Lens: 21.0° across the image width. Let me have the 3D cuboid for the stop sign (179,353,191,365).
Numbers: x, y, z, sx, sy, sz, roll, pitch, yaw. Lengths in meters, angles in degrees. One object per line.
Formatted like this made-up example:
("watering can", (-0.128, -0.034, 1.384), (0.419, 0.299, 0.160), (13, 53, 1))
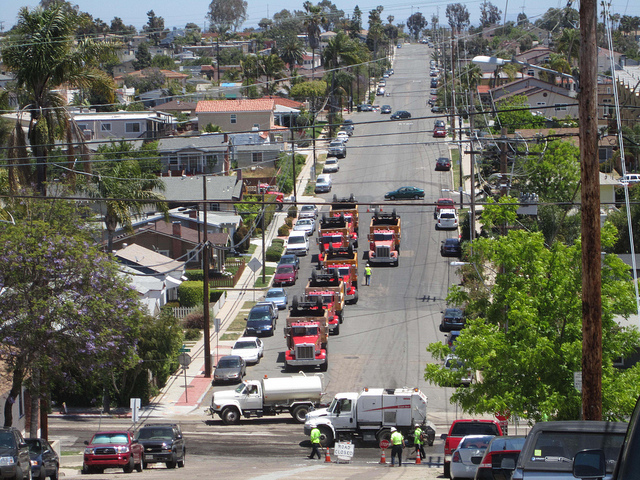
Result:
("stop sign", (-9.878, 8.396, 126.103), (0.707, 0.866, 1.699), (-3, 3, -8))

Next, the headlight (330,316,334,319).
("headlight", (0.863, 5.778, 134.844), (0.331, 0.217, 0.181), (-4, 3, -14))

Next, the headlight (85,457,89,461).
("headlight", (-14.971, 13.727, 110.891), (0.186, 0.208, 0.078), (-3, 3, 6))

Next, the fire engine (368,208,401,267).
("fire engine", (5.444, -0.236, 149.294), (2.642, 4.686, 2.780), (-3, 3, 3))

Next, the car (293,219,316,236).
("car", (-1.458, -1.363, 160.234), (1.191, 1.054, 2.850), (-1, -5, 5))

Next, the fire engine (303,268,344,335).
("fire engine", (0.301, 4.775, 136.115), (2.497, 5.275, 2.946), (-5, 0, 12))

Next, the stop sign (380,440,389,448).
("stop sign", (4.243, 13.309, 115.719), (0.464, 0.553, 0.084), (1, -3, 7))

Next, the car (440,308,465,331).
("car", (10.281, 5.947, 135.959), (1.878, 1.656, 1.989), (-3, 3, 3))

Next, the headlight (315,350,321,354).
("headlight", (-0.182, 8.066, 129.121), (0.421, 0.284, 0.177), (-4, 4, -14))

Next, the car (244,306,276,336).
("car", (-4.740, 6.200, 137.761), (2.209, 2.154, 2.614), (-2, 3, 18))

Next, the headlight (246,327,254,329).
("headlight", (-5.581, 6.700, 136.860), (0.665, 0.104, 0.180), (-1, 4, 32))

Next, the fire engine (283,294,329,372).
("fire engine", (-1.053, 6.773, 130.409), (3.134, 5.436, 3.721), (-3, 3, 2))

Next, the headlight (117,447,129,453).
("headlight", (-12.619, 13.152, 110.892), (0.650, 0.351, 0.175), (-4, 4, -12))

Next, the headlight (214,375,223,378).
("headlight", (-7.601, 9.876, 129.243), (0.667, 0.191, 0.197), (-1, 4, 36))

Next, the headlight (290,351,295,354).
("headlight", (-2.105, 8.131, 129.289), (0.162, 0.176, 0.042), (-3, -20, 2))

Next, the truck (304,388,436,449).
("truck", (3.306, 11.363, 118.576), (8.572, 4.742, 4.578), (0, 17, -5))

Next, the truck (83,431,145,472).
("truck", (-13.361, 13.432, 111.548), (3.881, 2.631, 2.048), (-4, 3, -12))

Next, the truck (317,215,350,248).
("truck", (1.028, -0.776, 151.375), (2.492, 5.542, 2.743), (-1, 3, 2))

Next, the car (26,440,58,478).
("car", (-17.247, 13.362, 107.245), (1.125, 2.527, 2.336), (-2, 3, 7))

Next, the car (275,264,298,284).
("car", (-3.073, 2.713, 147.123), (1.640, 1.553, 1.342), (-3, 3, -2))

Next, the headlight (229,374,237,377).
("headlight", (-6.516, 9.805, 129.063), (0.286, 0.127, 0.222), (1, 0, 9))
